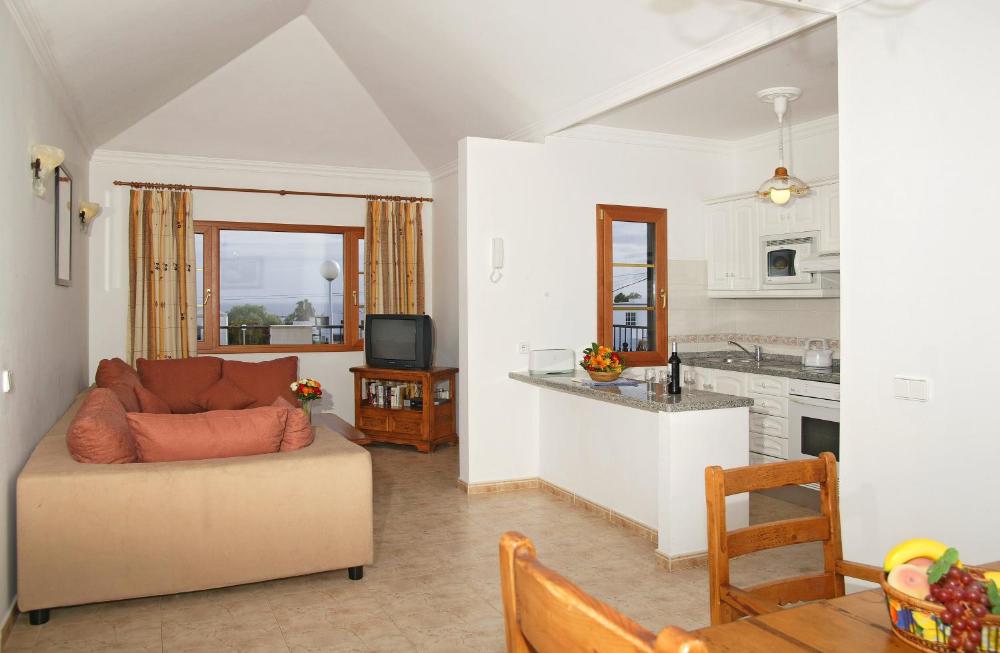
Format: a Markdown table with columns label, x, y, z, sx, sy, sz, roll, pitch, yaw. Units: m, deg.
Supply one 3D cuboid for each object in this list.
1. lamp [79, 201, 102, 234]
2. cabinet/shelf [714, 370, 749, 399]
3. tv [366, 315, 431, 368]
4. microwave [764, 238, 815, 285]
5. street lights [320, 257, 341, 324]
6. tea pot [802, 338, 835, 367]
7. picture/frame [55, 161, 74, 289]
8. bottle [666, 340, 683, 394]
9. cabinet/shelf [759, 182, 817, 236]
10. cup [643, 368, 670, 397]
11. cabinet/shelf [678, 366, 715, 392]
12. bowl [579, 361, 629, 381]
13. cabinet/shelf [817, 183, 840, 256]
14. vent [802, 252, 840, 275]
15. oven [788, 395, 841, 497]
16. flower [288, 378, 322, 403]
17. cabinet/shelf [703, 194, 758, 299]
| label | x | y | z | sx | sy | sz | roll | pitch | yaw |
| --- | --- | --- | --- | --- | --- | --- | --- | --- | --- |
| lamp | -3.996 | -1.067 | 6.635 | 0.128 | 0.248 | 0.234 | -2 | 7 | -11 |
| cabinet/shelf | 2.274 | 0.571 | 6.663 | 0.201 | 0.344 | 0.369 | -1 | 5 | -20 |
| tv | -1.341 | 0.196 | 7.896 | 0.828 | 0.628 | 0.450 | 3 | -3 | -44 |
| microwave | 2.851 | -0.600 | 6.658 | 0.440 | 0.389 | 0.252 | 1 | -1 | 40 |
| street lights | -2.071 | -0.411 | 8.424 | 0.238 | 0.821 | 0.085 | -2 | 8 | -15 |
| tea pot | 3.038 | 0.257 | 6.509 | 0.279 | 0.255 | 0.256 | -1 | 0 | 0 |
| picture/frame | -3.707 | -0.846 | 5.801 | 0.123 | 0.992 | 1.087 | -5 | 8 | -29 |
| bottle | 1.318 | 0.363 | 5.100 | 0.107 | 0.311 | 0.204 | 2 | 7 | 17 |
| cabinet/shelf | 2.751 | -1.153 | 6.494 | 0.552 | 0.509 | 0.359 | -2 | 19 | 35 |
| cup | 1.295 | 0.467 | 5.458 | 0.183 | 0.219 | 0.573 | -1 | -2 | 3 |
| cabinet/shelf | 1.724 | 0.467 | 5.930 | 0.183 | 0.210 | 0.327 | -1 | 3 | -4 |
| bowl | 0.891 | 0.404 | 5.857 | 0.322 | 0.140 | 0.206 | 1 | 7 | 15 |
| cabinet/shelf | 2.990 | -0.975 | 6.178 | 0.078 | 0.634 | 0.221 | -2 | 7 | -11 |
| vent | 2.919 | -0.557 | 6.185 | 0.135 | 0.182 | 0.485 | -2 | 6 | -13 |
| oven | 2.832 | 0.946 | 5.989 | 0.562 | 0.651 | 0.524 | 0 | 5 | 21 |
| flower | -1.895 | 0.632 | 6.681 | 0.314 | 0.196 | 0.301 | 0 | -3 | -5 |
| cabinet/shelf | 2.370 | -0.813 | 6.993 | 0.145 | 1.019 | 0.548 | -6 | 9 | -37 |
